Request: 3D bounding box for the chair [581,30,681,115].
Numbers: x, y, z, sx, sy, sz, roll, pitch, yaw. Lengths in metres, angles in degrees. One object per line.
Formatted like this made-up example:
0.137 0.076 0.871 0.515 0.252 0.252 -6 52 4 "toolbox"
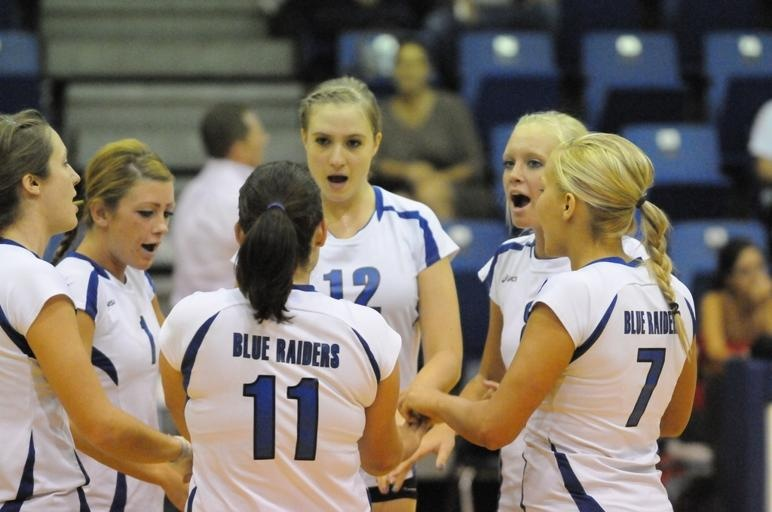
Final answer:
2.195 -1.818 10.119 0.977 1.125 0.779 -1 12 1 "chair"
